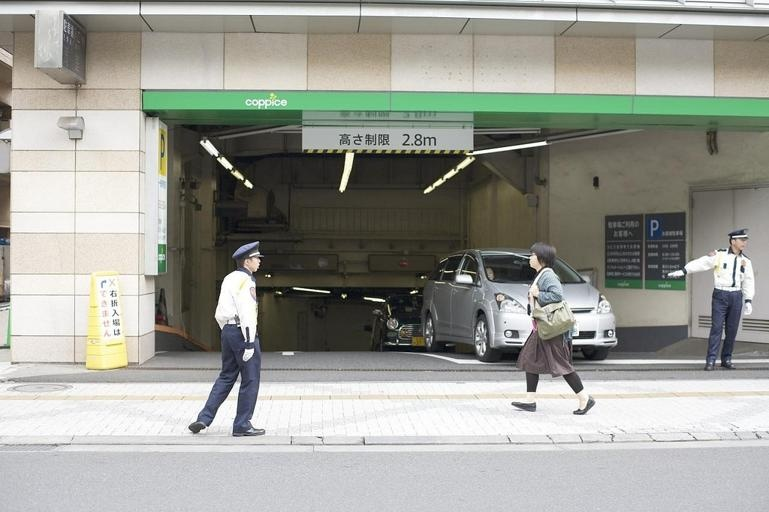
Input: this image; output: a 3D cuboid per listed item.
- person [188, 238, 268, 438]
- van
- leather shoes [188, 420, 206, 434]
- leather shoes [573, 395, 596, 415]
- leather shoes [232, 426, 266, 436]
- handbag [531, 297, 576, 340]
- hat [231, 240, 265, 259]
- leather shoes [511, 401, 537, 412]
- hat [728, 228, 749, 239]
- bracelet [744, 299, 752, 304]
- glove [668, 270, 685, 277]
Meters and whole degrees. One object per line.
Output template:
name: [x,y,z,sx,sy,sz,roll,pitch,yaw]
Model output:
person: [-2.224,1.201,12.532,1.019,2.767,0.787,0,1,-25]
van: [2.426,1.016,17.608,2.057,1.592,3.732,1,-7,-17]
leather shoes: [-2.698,2.479,12.394,0.274,0.111,0.157,-28,-52,32]
leather shoes: [3.084,2.385,13.401,0.177,0.167,0.464,14,-49,-19]
leather shoes: [-1.925,2.515,12.350,0.460,0.186,0.170,0,0,-13]
handbag: [2.599,0.990,13.358,0.683,0.655,0.392,-11,-16,-5]
hat: [-1.994,-0.054,12.645,0.609,0.285,0.504,-1,-1,-10]
leather shoes: [2.213,2.371,13.594,0.393,0.159,0.144,8,-6,8]
hat: [6.929,-0.420,16.822,0.333,0.159,0.299,-2,-2,42]
bracelet: [6.686,0.842,15.827,0.082,0.061,0.083,3,-16,2]
glove: [5.741,0.354,16.922,0.223,0.080,0.221,2,-3,-29]
